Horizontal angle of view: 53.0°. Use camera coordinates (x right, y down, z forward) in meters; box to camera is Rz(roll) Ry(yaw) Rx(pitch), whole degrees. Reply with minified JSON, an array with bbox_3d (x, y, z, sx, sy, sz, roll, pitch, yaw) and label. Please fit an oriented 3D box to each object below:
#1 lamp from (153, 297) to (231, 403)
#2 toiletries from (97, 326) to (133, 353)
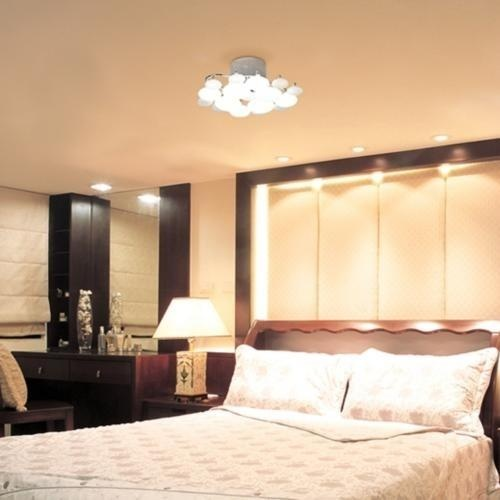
[{"bbox_3d":[-0.292,0.783,3.990,0.686,0.839,0.671,1,-9,-2],"label":"lamp"},{"bbox_3d":[-1.242,0.833,4.626,0.245,0.242,0.243,1,-1,-23],"label":"toiletries"}]
